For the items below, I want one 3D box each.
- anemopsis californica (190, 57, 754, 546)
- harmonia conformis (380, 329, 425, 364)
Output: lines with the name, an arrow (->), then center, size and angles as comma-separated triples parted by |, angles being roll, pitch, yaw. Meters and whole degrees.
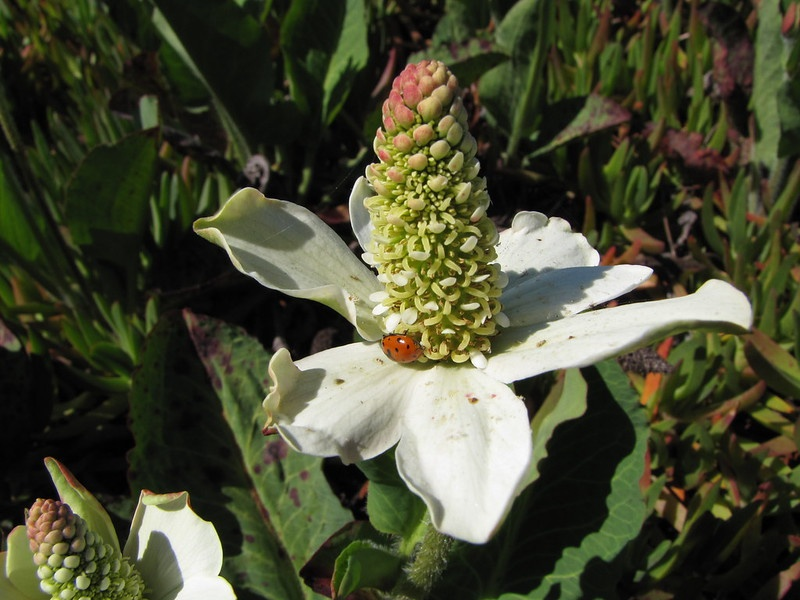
anemopsis californica -> 0.102, 0.097, 1.805 | 0.829, 0.580, 1.074 | 1, 55, 9
harmonia conformis -> 0.007, 0.090, 1.542 | 0.068, 0.057, 0.024 | 10, 27, 26
